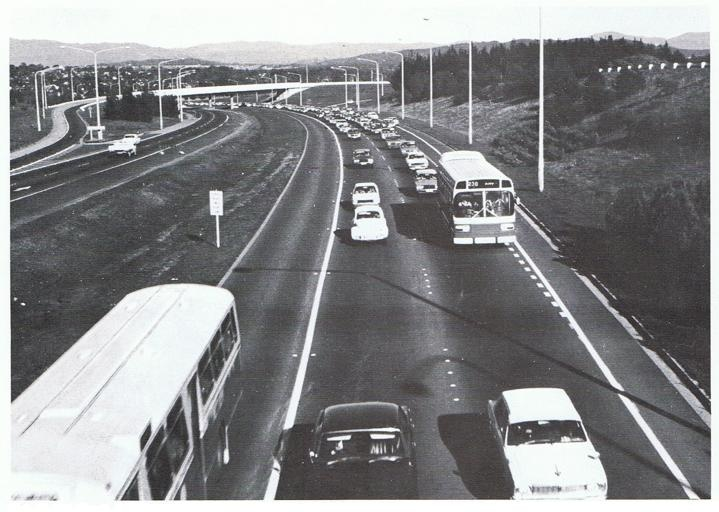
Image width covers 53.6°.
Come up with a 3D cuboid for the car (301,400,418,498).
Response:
[{"bbox_3d":[0.130,5.298,19.117,2.521,2.380,4.164,-2,8,1],"label":"car"}]

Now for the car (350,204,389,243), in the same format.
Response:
[{"bbox_3d":[0.623,-1.663,38.385,1.751,1.241,2.167,0,16,5],"label":"car"}]

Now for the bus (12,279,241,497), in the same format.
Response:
[{"bbox_3d":[-5.787,3.702,18.170,3.847,3.480,9.337,-1,16,0],"label":"bus"}]

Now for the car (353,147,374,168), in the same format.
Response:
[{"bbox_3d":[0.375,-9.029,66.315,1.671,1.209,2.807,-2,16,-3],"label":"car"}]

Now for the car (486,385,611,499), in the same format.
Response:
[{"bbox_3d":[4.859,4.987,18.598,2.275,1.739,3.070,-3,16,-3],"label":"car"}]

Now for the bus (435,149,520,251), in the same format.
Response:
[{"bbox_3d":[6.699,-3.500,40.302,4.302,3.851,10.420,0,16,5],"label":"bus"}]
